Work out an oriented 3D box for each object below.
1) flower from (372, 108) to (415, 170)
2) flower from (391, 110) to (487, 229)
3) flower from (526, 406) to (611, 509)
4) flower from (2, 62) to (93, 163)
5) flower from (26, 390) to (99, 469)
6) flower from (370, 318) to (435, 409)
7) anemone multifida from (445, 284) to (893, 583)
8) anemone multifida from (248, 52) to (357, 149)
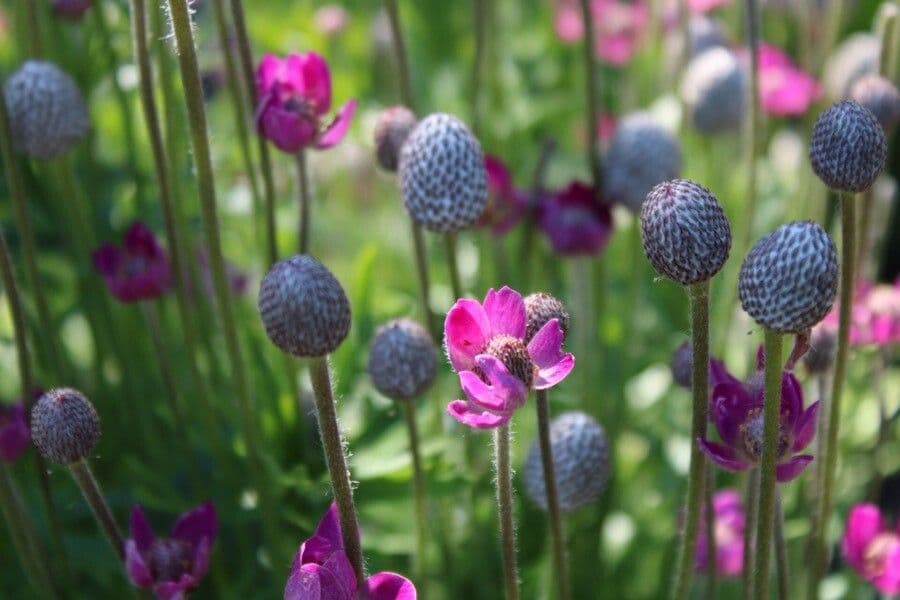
[{"bbox_3d":[-0.060,-0.189,1.234,0.044,0.063,0.076,-1,-53,-2],"label":"flower"},{"bbox_3d":[-0.004,-0.136,1.207,0.091,0.159,0.104,-5,0,19],"label":"flower"},{"bbox_3d":[0.145,0.217,1.363,0.077,0.100,0.131,0,-51,-15],"label":"flower"},{"bbox_3d":[-0.447,-0.208,1.168,0.070,0.100,0.098,4,-19,-19],"label":"flower"},{"bbox_3d":[-0.397,0.129,1.110,0.053,0.089,0.074,10,7,0],"label":"flower"},{"bbox_3d":[-0.060,0.078,1.334,0.076,0.121,0.082,-1,0,-28],"label":"flower"},{"bbox_3d":[0.149,0.156,1.127,0.323,0.296,0.182,5,-22,-4],"label":"anemone multifida"},{"bbox_3d":[-0.166,-0.221,1.198,0.115,0.128,0.076,11,-23,-16],"label":"anemone multifida"}]
